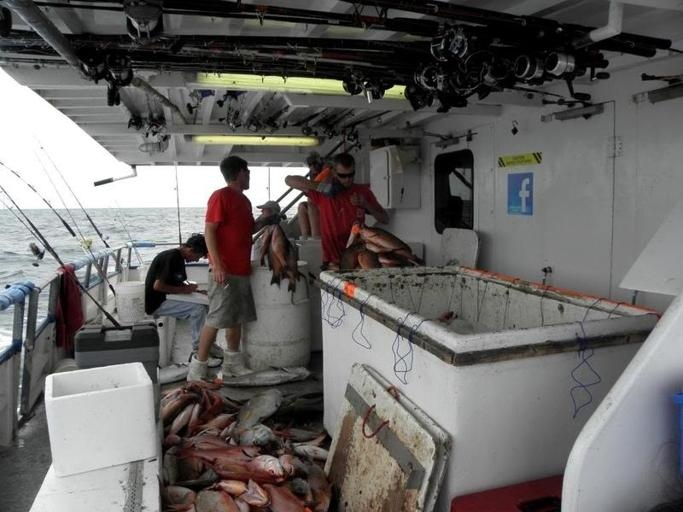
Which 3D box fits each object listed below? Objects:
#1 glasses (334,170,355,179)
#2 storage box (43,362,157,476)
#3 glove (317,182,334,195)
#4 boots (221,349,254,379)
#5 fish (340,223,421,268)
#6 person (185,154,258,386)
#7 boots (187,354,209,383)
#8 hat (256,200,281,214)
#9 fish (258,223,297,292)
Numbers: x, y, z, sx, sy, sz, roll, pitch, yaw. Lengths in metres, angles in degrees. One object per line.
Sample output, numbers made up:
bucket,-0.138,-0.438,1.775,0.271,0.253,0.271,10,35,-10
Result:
glasses,0.042,-0.955,5.675,0.211,0.096,0.172,-4,9,-4
storage box,-1.404,0.907,2.926,0.738,0.576,0.523,-2,12,-20
glove,-0.197,-0.805,5.744,0.137,0.136,0.141,4,11,6
boots,-1.149,1.274,5.716,0.472,0.334,0.200,1,-1,-2
fish,0.367,-0.060,5.284,0.512,0.669,0.251,-34,-24,-12
person,-1.338,0.142,5.507,0.912,2.500,0.371,-9,11,-30
boots,-1.630,1.294,5.460,0.219,0.294,0.372,-7,10,-21
hat,-0.974,-0.661,6.506,0.267,0.152,0.186,19,2,-5
fish,-0.796,-0.081,5.954,0.391,0.342,0.940,-10,45,-3
